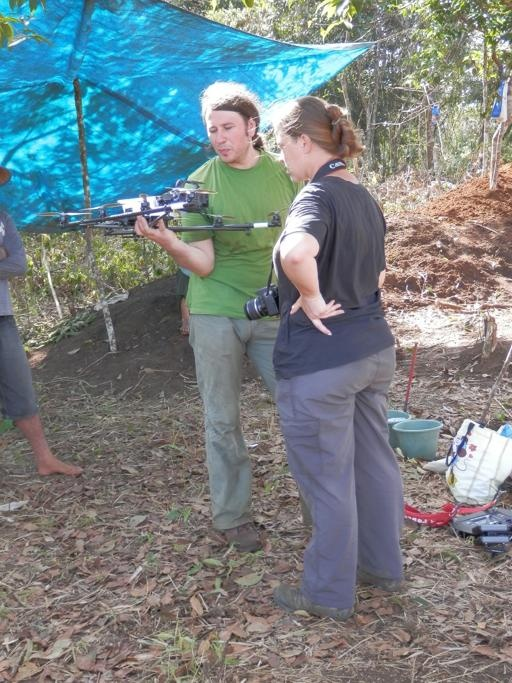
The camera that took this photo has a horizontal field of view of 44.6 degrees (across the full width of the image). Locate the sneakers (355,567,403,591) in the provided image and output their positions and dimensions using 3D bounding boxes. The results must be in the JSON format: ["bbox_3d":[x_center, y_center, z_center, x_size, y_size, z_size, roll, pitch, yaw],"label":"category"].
[{"bbox_3d":[0.495,0.963,2.541,0.185,0.065,0.063,2,13,34],"label":"sneakers"}]

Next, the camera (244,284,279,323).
[{"bbox_3d":[0.035,-0.150,2.512,0.150,0.109,0.136,-22,-24,12],"label":"camera"}]

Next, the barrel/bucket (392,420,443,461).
[{"bbox_3d":[0.964,0.588,3.823,0.289,0.161,0.269,-4,17,1],"label":"barrel/bucket"}]

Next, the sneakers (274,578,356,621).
[{"bbox_3d":[0.217,0.978,2.428,0.326,0.117,0.110,13,22,41],"label":"sneakers"}]

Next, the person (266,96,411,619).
[{"bbox_3d":[0.311,0.103,2.257,0.493,1.880,0.705,0,24,6],"label":"person"}]

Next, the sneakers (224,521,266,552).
[{"bbox_3d":[-0.070,0.934,3.025,0.086,0.081,0.223,-15,15,-37],"label":"sneakers"}]
